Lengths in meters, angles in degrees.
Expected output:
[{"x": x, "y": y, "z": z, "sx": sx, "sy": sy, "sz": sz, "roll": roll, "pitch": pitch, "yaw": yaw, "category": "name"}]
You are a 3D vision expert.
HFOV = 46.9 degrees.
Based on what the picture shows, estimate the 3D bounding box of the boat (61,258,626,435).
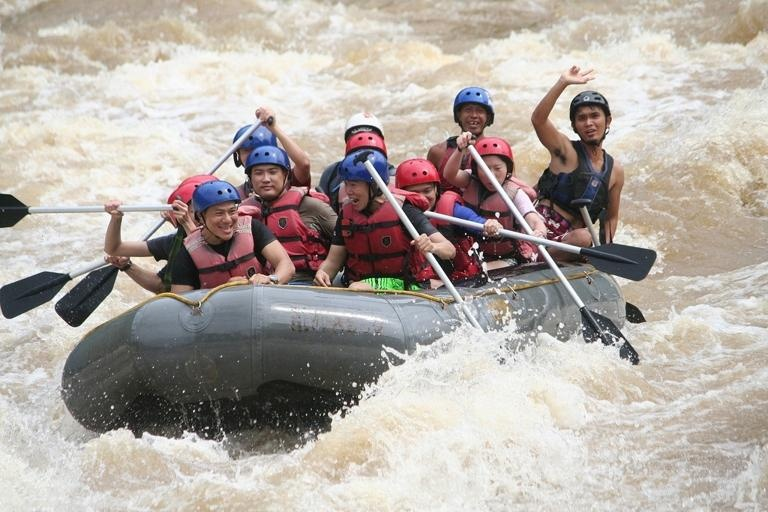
[{"x": -0.514, "y": 0.831, "z": 8.376, "sx": 3.439, "sy": 0.715, "sz": 1.969, "roll": -3, "pitch": 3, "yaw": -35, "category": "boat"}]

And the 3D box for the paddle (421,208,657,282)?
[{"x": 1.536, "y": -0.108, "z": 9.396, "sx": 2.705, "sy": 0.478, "sz": 0.130, "roll": 17, "pitch": 2, "yaw": 13, "category": "paddle"}]

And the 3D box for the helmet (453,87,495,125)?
[{"x": 1.009, "y": -1.799, "z": 10.267, "sx": 0.359, "sy": 0.395, "sz": 0.490, "roll": 5, "pitch": 38, "yaw": -13, "category": "helmet"}]

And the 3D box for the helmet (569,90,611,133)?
[{"x": 2.344, "y": -1.674, "z": 10.085, "sx": 0.430, "sy": 0.437, "sz": 0.384, "roll": 0, "pitch": 32, "yaw": 10, "category": "helmet"}]

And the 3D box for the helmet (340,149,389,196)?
[{"x": -0.188, "y": -0.854, "z": 8.757, "sx": 0.494, "sy": 0.418, "sz": 0.326, "roll": -12, "pitch": 32, "yaw": -9, "category": "helmet"}]

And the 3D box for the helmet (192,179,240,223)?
[{"x": -1.621, "y": -0.514, "z": 8.479, "sx": 0.398, "sy": 0.305, "sz": 0.312, "roll": -34, "pitch": -13, "yaw": 21, "category": "helmet"}]

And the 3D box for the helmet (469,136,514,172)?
[{"x": 1.185, "y": -1.147, "z": 9.685, "sx": 0.329, "sy": 0.451, "sz": 0.387, "roll": 1, "pitch": -4, "yaw": 11, "category": "helmet"}]

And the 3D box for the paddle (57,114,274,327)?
[{"x": -2.635, "y": -0.378, "z": 10.276, "sx": 4.068, "sy": 0.742, "sz": 0.172, "roll": -42, "pitch": 26, "yaw": 8, "category": "paddle"}]

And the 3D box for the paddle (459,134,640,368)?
[{"x": 1.716, "y": 0.009, "z": 9.356, "sx": 0.635, "sy": 0.215, "sz": 3.853, "roll": -36, "pitch": 57, "yaw": -3, "category": "paddle"}]
